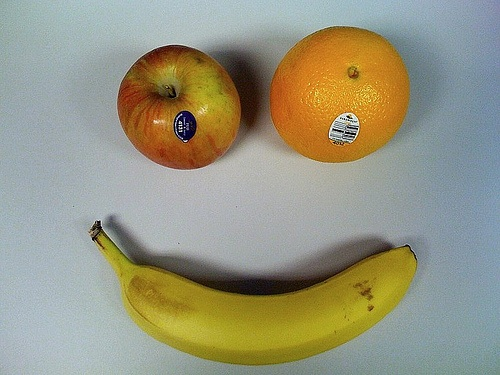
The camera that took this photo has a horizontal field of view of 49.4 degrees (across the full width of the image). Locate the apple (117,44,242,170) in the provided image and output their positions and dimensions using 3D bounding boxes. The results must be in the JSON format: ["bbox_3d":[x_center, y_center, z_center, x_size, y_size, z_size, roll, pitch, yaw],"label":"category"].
[{"bbox_3d":[-0.166,-0.188,1.485,0.263,0.293,0.304,20,61,8],"label":"apple"}]
